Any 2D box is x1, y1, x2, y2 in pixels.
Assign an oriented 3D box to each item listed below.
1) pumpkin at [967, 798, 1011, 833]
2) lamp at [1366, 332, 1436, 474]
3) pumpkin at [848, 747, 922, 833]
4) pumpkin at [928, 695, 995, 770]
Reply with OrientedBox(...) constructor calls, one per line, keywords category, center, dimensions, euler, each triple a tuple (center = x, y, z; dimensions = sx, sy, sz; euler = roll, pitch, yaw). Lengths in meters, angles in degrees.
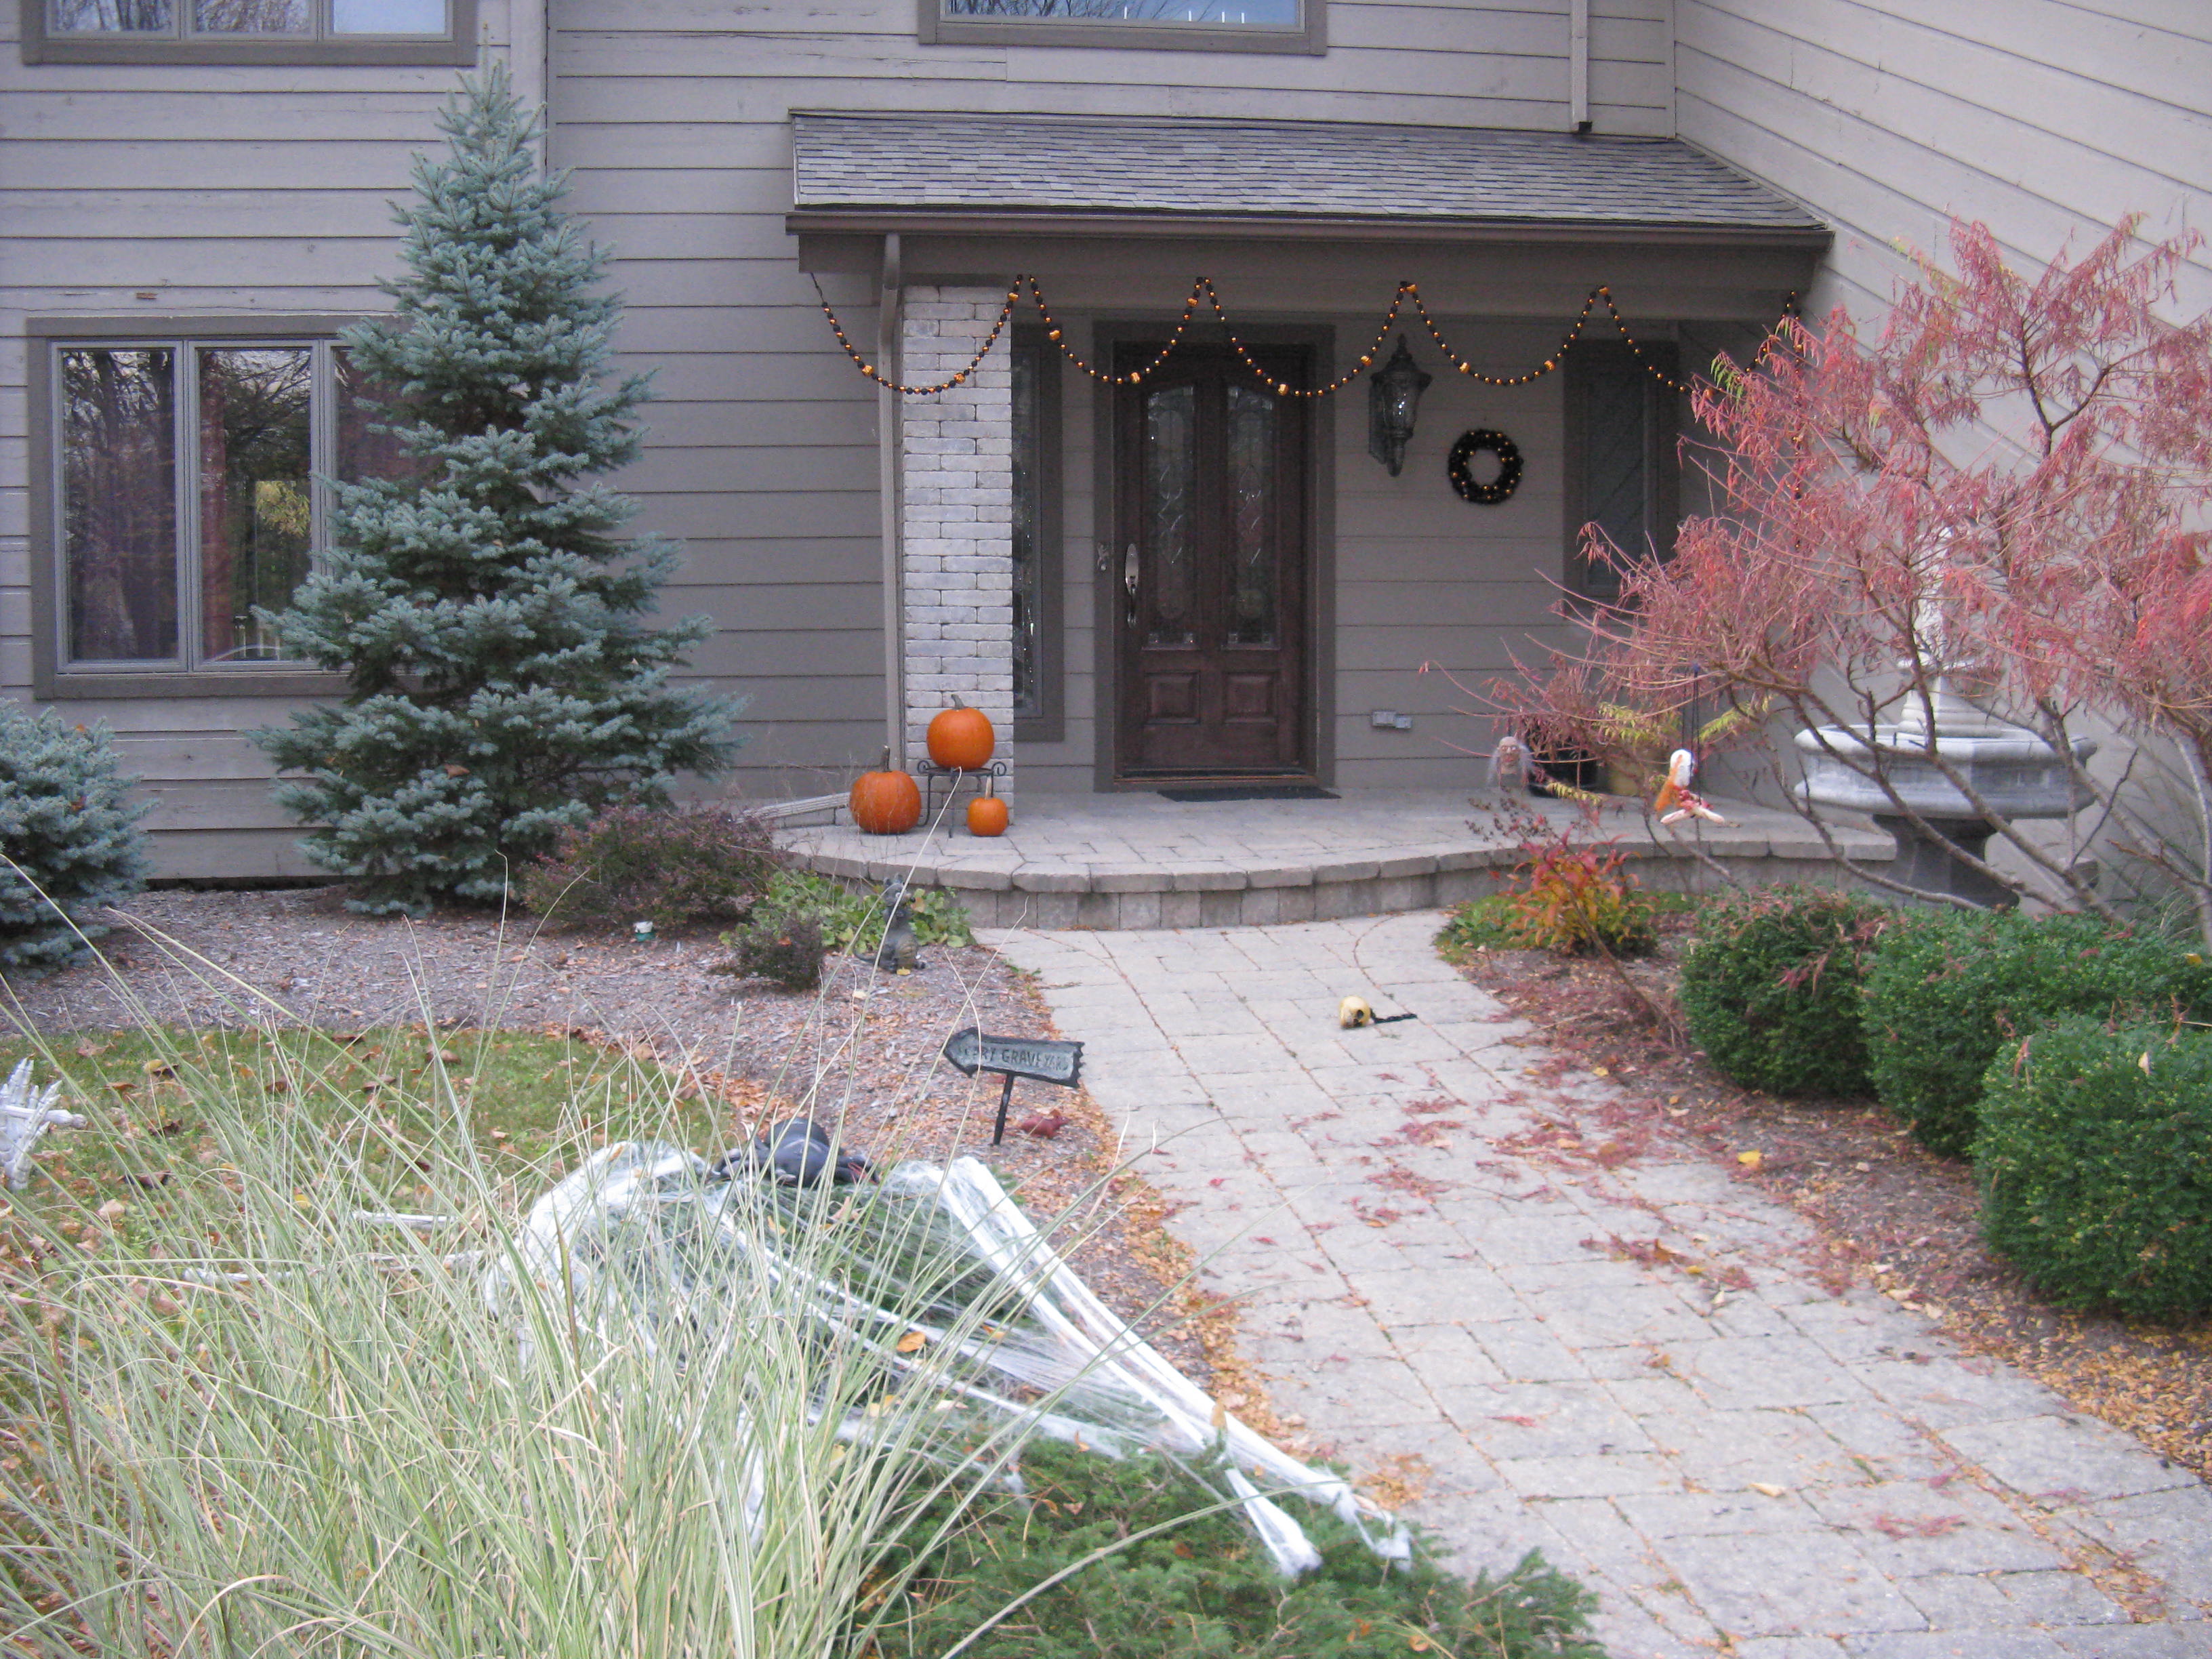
OrientedBox(category="pumpkin", center=(-0.568, -0.065, 10.585), dimensions=(0.157, 0.160, 0.167), euler=(3, 4, 0))
OrientedBox(category="lamp", center=(1.624, -2.352, 12.407), dimensions=(0.350, 0.771, 0.269), euler=(2, 14, 1))
OrientedBox(category="pumpkin", center=(-1.040, -0.181, 10.654), dimensions=(0.324, 0.386, 0.455), euler=(1, 14, -3))
OrientedBox(category="pumpkin", center=(-0.707, -0.451, 10.672), dimensions=(0.304, 0.329, 0.298), euler=(-1, 1, -18))
